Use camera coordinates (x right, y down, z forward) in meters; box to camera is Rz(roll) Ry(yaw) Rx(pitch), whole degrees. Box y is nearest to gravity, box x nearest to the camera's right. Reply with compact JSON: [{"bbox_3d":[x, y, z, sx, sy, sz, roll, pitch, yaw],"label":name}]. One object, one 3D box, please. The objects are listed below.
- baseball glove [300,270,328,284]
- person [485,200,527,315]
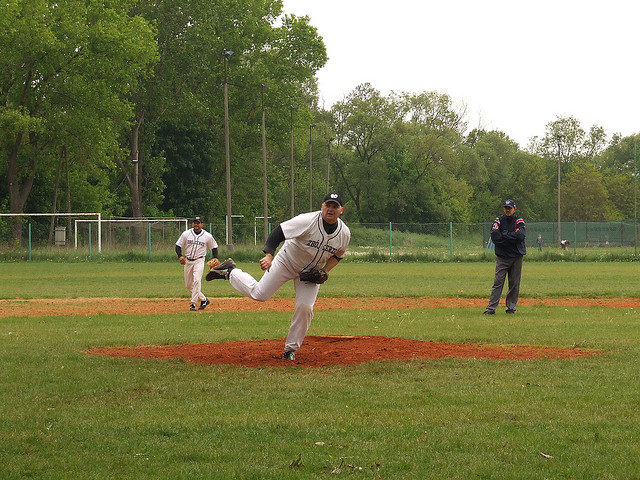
[{"bbox_3d":[-0.115,0.971,28.183,0.478,0.240,0.362,-5,-13,26],"label":"baseball glove"},{"bbox_3d":[5.801,0.558,33.426,1.085,3.615,1.477,1,12,10],"label":"person"}]
